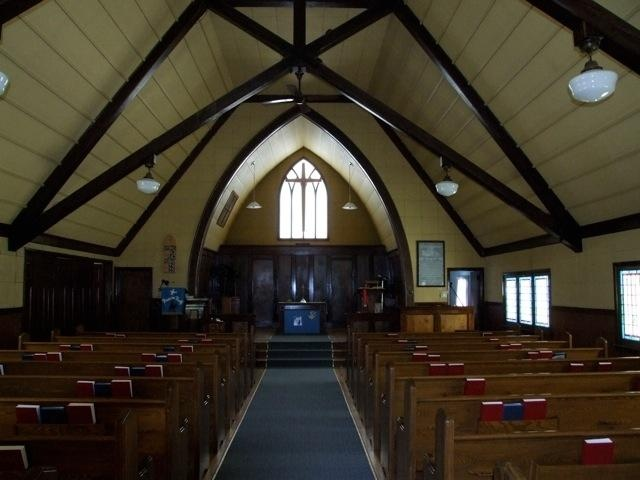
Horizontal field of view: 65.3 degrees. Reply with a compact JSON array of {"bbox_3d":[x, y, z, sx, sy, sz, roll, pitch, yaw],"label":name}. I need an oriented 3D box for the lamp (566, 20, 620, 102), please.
[{"bbox_3d":[3.059,-2.031,5.673,0.479,0.954,0.416,-1,1,19],"label":"lamp"}]

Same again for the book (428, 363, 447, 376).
[{"bbox_3d":[1.385,1.520,5.851,0.161,0.201,0.129,1,-8,3],"label":"book"}]

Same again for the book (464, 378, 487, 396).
[{"bbox_3d":[1.581,1.515,5.121,0.228,0.252,0.139,0,-4,-1],"label":"book"}]

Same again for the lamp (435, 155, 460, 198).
[{"bbox_3d":[2.368,-1.206,9.362,0.362,0.779,0.351,-11,-14,40],"label":"lamp"}]

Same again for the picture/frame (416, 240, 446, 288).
[{"bbox_3d":[2.765,0.587,12.465,0.701,1.409,0.040,0,32,15],"label":"picture/frame"}]

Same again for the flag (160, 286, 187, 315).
[{"bbox_3d":[-3.352,1.344,11.743,0.621,0.780,0.517,0,-2,4],"label":"flag"}]

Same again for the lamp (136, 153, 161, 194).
[{"bbox_3d":[-3.030,-1.204,8.866,0.259,0.633,0.276,-13,-22,39],"label":"lamp"}]
